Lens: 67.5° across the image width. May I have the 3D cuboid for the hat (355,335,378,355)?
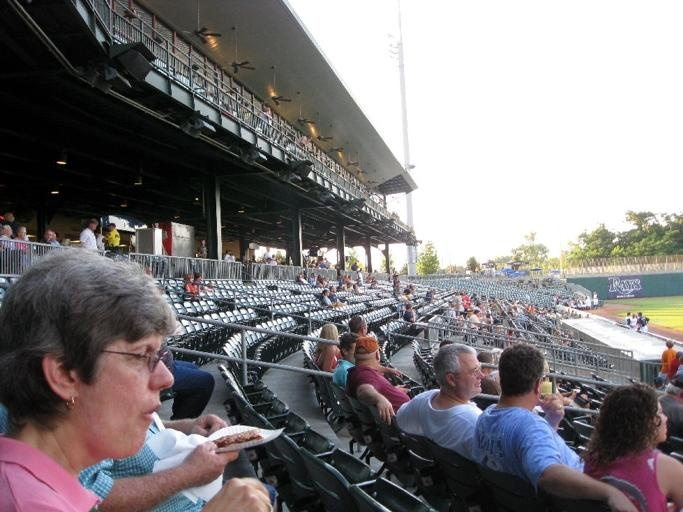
[{"bbox_3d":[0.250,0.833,4.862,0.177,0.149,0.306,0,-13,9],"label":"hat"}]
